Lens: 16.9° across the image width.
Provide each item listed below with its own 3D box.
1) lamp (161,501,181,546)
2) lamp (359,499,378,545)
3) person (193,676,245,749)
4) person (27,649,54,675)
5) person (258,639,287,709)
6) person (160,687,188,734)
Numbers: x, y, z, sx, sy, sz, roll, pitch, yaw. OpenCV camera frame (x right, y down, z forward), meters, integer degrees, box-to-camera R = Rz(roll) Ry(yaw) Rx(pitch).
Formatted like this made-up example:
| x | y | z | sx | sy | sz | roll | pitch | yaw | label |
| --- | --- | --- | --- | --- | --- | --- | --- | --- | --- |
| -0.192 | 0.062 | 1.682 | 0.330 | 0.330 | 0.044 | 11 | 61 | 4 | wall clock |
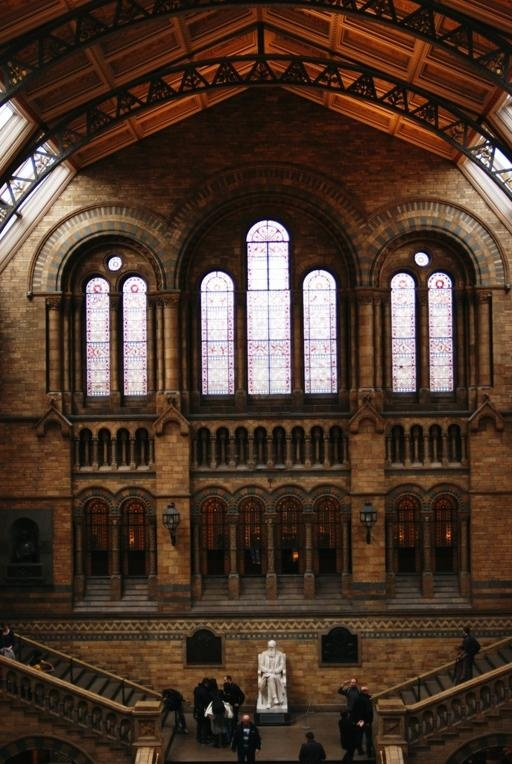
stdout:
| x | y | z | sx | sy | sz | roll | pitch | yaw | label |
| --- | --- | --- | --- | --- | --- | --- | --- | --- | --- |
| -1.883 | 3.141 | 38.510 | 0.403 | 0.966 | 0.768 | 0 | -6 | -2 | lamp |
| 2.543 | 3.101 | 38.356 | 0.387 | 0.947 | 0.885 | 0 | -6 | 4 | lamp |
| -0.868 | 6.910 | 36.360 | 0.982 | 1.370 | 0.862 | -4 | -7 | 37 | person |
| -4.664 | 6.004 | 37.121 | 0.483 | 0.830 | 0.359 | 7 | -6 | -38 | person |
| 0.366 | 6.381 | 37.528 | 0.635 | 1.528 | 0.638 | 0 | -6 | -1 | person |
| -1.775 | 7.087 | 37.363 | 0.561 | 0.936 | 1.084 | 0 | -6 | -3 | person |
